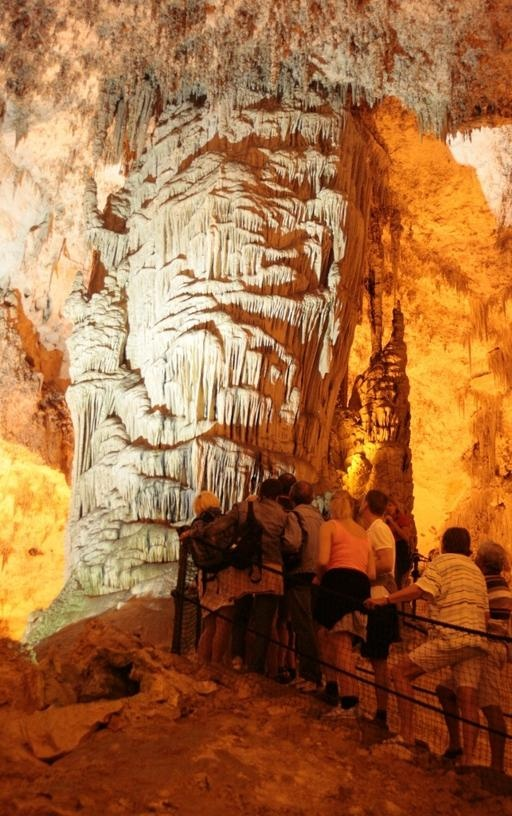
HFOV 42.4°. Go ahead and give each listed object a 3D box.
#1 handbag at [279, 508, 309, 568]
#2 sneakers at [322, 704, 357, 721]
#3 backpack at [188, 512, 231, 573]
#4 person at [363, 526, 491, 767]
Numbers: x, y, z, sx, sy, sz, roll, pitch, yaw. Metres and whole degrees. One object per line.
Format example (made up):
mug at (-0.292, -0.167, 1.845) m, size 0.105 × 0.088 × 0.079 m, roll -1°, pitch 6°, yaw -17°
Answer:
handbag at (0.184, 0.708, 3.577) m, size 0.093 × 0.273 × 0.186 m, roll 2°, pitch -1°, yaw 34°
sneakers at (0.396, 1.415, 3.047) m, size 0.112 × 0.044 × 0.111 m, roll 0°, pitch -11°, yaw -16°
backpack at (-0.235, 0.683, 3.633) m, size 0.147 × 0.290 × 0.201 m, roll -21°, pitch 13°, yaw 22°
person at (0.779, 1.010, 2.895) m, size 0.452 × 0.976 × 0.586 m, roll 4°, pitch -7°, yaw 21°
